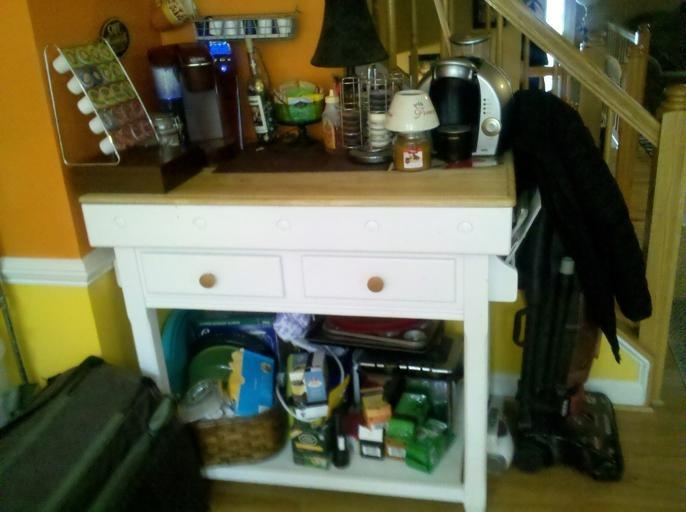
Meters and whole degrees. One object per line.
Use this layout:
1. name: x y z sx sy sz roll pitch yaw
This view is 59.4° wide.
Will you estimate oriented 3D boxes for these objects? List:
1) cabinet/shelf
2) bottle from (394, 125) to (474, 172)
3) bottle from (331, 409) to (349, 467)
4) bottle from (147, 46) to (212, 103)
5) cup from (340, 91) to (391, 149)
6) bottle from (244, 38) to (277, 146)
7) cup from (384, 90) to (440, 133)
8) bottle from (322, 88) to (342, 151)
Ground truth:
1. cabinet/shelf: -0.153 0.231 1.826 1.038 0.928 0.418 1 29 8
2. bottle: 0.262 -0.308 1.725 0.200 0.101 0.126 -1 16 -3
3. bottle: -0.015 0.595 1.982 0.051 0.180 0.068 0 -4 -10
4. bottle: -0.517 -0.579 1.916 0.213 0.173 0.073 2 26 16
5. cup: 0.083 -0.414 1.901 0.168 0.182 0.176 -2 32 2
6. bottle: -0.280 -0.546 2.011 0.073 0.337 0.093 0 26 12
7. cup: 0.189 -0.396 1.682 0.121 0.086 0.127 -3 21 1
8. bottle: -0.039 -0.429 1.941 0.063 0.160 0.103 -6 26 0
